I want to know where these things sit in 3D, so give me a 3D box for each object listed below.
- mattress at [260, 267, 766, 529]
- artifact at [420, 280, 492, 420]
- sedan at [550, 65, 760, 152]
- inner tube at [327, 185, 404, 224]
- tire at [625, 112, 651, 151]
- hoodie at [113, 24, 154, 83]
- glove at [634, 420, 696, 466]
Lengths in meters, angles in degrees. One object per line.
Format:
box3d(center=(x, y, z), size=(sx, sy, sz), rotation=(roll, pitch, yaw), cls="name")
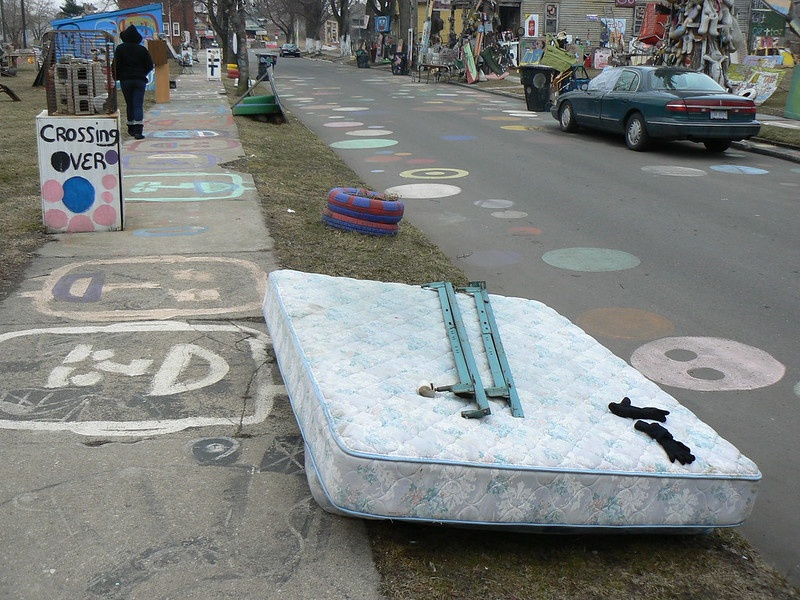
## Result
box3d(center=(0.503, 0.581, 4.133), size=(2.536, 0.764, 2.329), rotation=(-2, 21, -12), cls="mattress")
box3d(center=(0.311, 0.293, 4.266), size=(0.418, 0.108, 1.304), rotation=(-6, 39, 0), cls="artifact")
box3d(center=(6.063, -4.893, 15.765), size=(1.996, 1.908, 5.553), rotation=(-5, 21, -18), cls="sedan")
box3d(center=(-0.469, -1.246, 8.236), size=(0.771, 0.190, 0.699), rotation=(10, 11, 12), cls="inner tube")
box3d(center=(5.581, -3.955, 14.567), size=(0.387, 0.849, 0.954), rotation=(-2, 12, -12), cls="tire")
box3d(center=(-6.333, -5.816, 14.654), size=(0.785, 1.225, 1.173), rotation=(0, 23, -7), cls="hoodie")
box3d(center=(1.477, 0.803, 3.474), size=(0.161, 0.058, 0.243), rotation=(-6, 19, -34), cls="glove")
